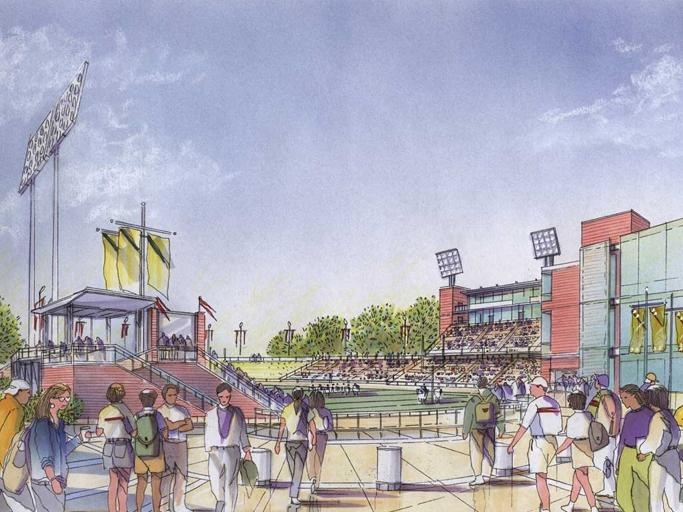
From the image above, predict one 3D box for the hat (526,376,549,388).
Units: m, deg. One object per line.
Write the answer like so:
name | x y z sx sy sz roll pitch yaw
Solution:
hat | 4.907 3.078 25.188 0.324 0.316 0.851 -6 -10 13
